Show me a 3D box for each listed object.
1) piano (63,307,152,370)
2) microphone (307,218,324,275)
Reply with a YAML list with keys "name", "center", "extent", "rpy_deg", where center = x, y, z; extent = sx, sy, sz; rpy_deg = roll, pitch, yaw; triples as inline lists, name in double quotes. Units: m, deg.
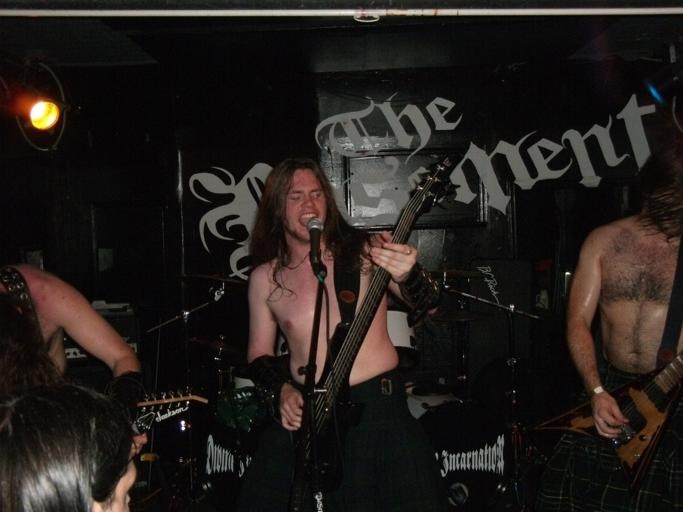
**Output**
- name: "piano"
  center: [-2.040, 0.636, 5.981]
  extent: [0.868, 0.485, 0.604]
  rpy_deg: [-4, 5, 5]
- name: "microphone"
  center: [-0.145, -0.045, 4.103]
  extent: [0.091, 0.350, 0.293]
  rpy_deg: [-2, -4, -2]
